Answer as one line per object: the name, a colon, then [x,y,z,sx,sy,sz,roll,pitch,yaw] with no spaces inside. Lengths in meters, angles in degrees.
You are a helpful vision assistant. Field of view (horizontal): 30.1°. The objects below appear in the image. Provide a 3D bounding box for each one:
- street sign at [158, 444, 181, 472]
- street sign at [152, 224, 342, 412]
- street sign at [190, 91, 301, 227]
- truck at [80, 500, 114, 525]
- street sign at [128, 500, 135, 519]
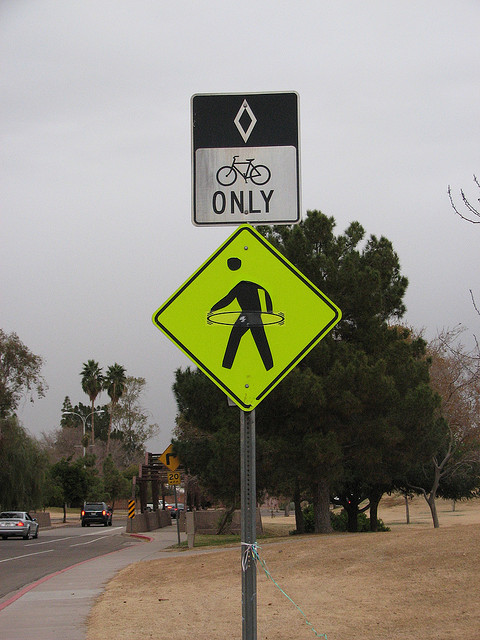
street sign: [-2.111,4.132,26.937,0.568,0.758,0.955,0,-6,-6]
street sign: [0.049,-0.035,5.934,1.150,1.273,0.203,0,-5,1]
street sign: [0.033,-1.142,6.378,0.789,0.036,1.273,-2,-38,-1]
truck: [-7.415,9.957,47.003,1.076,1.274,2.457,0,-5,3]
street sign: [-4.227,7.380,34.949,0.233,0.691,0.752,1,-6,-11]
